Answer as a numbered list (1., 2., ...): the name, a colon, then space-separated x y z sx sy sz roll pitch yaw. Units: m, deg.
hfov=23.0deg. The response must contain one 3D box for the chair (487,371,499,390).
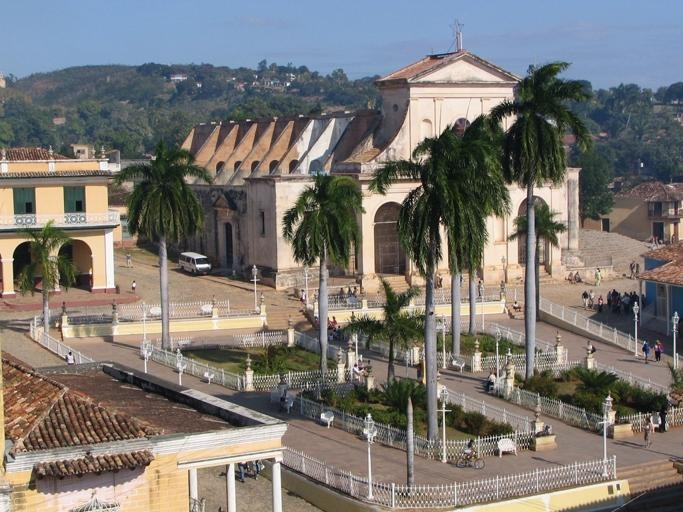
1. chair: 8.174 6.786 91.266 0.628 1.463 0.778 4 9 6

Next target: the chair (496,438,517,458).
1. chair: 8.105 9.536 83.306 0.852 0.704 0.349 -2 4 -28

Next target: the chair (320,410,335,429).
1. chair: -0.844 8.383 86.853 0.723 1.042 0.915 -3 6 -43

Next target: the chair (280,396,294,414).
1. chair: -3.015 7.836 88.279 0.819 1.061 0.815 1 -4 9

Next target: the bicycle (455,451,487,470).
1. bicycle: 6.228 10.050 82.333 1.292 0.856 0.672 0 1 8

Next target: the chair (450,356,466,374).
1. chair: 6.450 6.137 94.843 0.815 1.032 0.821 1 -2 -18

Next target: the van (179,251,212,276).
1. van: -10.437 0.565 118.038 1.179 1.116 2.317 -2 5 -32
